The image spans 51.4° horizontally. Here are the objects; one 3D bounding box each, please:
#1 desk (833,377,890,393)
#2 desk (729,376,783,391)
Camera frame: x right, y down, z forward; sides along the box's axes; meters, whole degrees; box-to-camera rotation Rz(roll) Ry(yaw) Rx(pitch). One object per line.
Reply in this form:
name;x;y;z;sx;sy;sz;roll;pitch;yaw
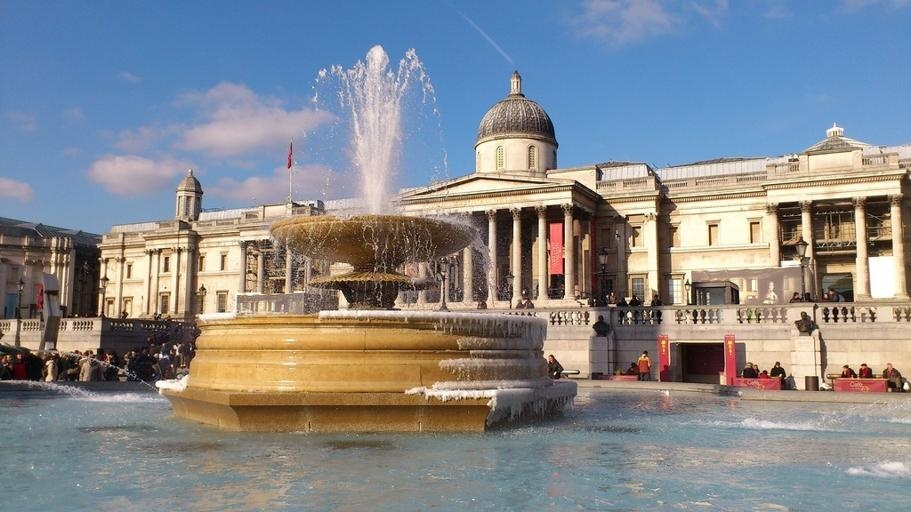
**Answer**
desk;14.946;4.617;34.241;1.912;0.534;2.344;2;-8;6
desk;11.672;4.860;36.566;1.818;0.375;1.105;-3;-10;39
